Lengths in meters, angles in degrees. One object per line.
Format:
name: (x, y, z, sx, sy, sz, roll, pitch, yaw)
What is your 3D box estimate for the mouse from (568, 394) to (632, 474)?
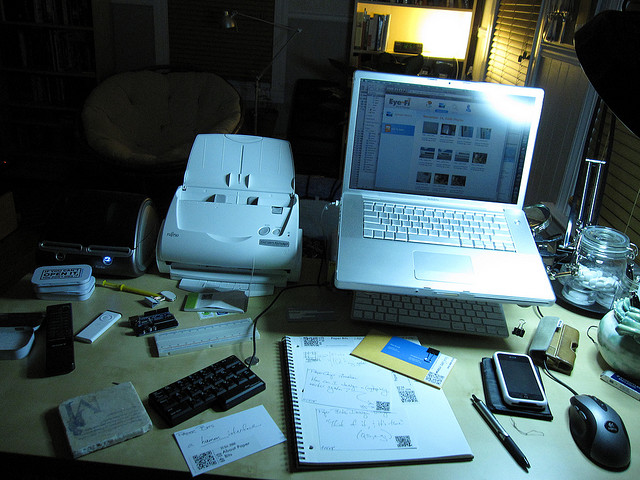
mouse: (0.591, 0.417, 1.032, 0.113, 0.077, 0.147, 7, 21, 11)

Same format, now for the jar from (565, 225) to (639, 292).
jar: (0.822, 0.046, 1.425, 0.163, 0.164, 0.169, 5, 21, -2)

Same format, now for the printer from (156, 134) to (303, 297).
printer: (-0.262, -0.092, 1.350, 0.386, 0.176, 0.500, 4, 62, -1)

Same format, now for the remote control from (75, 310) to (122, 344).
remote control: (-0.556, 0.216, 1.217, 0.111, 0.048, 0.110, 5, 23, -1)

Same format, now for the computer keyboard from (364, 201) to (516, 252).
computer keyboard: (0.323, -0.126, 1.500, 0.405, 0.134, 0.402, 4, 22, -2)

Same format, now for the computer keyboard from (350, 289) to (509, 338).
computer keyboard: (0.292, 0.196, 1.315, 0.415, 0.058, 0.113, 7, 21, 1)

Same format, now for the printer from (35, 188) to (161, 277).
printer: (-0.640, -0.025, 1.525, 0.335, 0.245, 0.289, 1, 25, -3)

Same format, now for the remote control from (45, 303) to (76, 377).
remote control: (-0.620, 0.239, 1.171, 0.063, 0.041, 0.241, -4, 43, -18)
